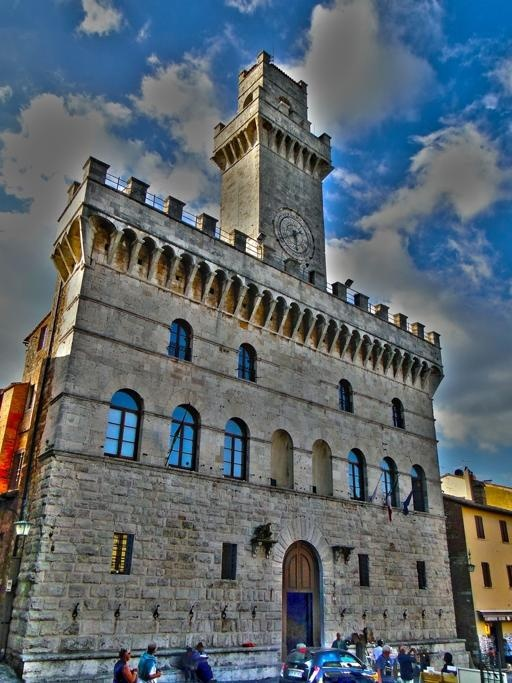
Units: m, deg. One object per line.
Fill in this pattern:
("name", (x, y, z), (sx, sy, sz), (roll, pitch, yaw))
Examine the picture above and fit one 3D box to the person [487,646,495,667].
("person", (11.115, 14.883, 24.672), (0.232, 0.740, 1.228), (-13, -30, 31))
